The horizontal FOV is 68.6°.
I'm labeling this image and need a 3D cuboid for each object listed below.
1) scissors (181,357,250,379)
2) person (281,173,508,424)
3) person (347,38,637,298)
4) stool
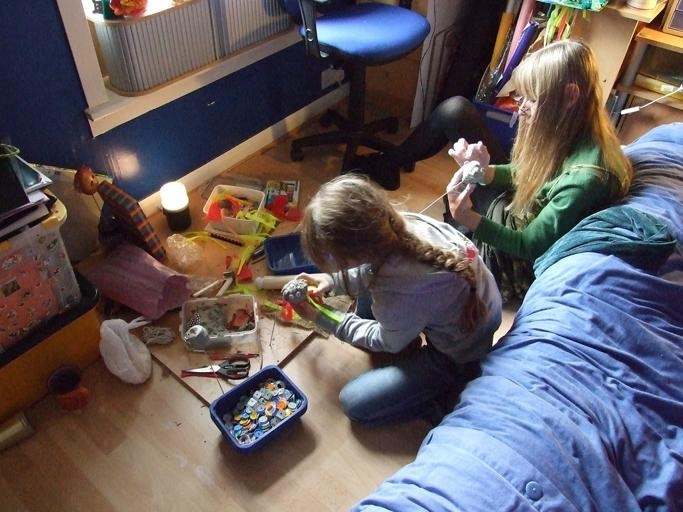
[{"bbox_3d":[-0.485,0.440,1.943,0.264,0.041,0.081,1,48,-4],"label":"scissors"},{"bbox_3d":[0.170,0.098,1.895,0.688,0.972,0.695,-22,39,-3],"label":"person"},{"bbox_3d":[0.598,-0.330,2.118,0.663,1.008,0.976,-32,51,-31],"label":"person"},{"bbox_3d":[0.072,-0.855,2.609,0.521,0.855,0.542,34,59,26],"label":"stool"}]
